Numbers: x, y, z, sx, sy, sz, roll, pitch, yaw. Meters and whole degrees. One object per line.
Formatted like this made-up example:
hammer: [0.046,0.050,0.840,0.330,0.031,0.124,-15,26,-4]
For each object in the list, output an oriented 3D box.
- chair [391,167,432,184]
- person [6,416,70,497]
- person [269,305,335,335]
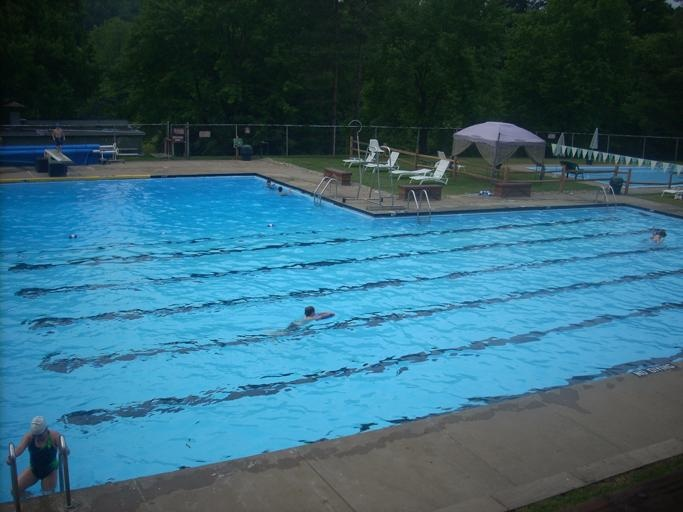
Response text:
chair: [2.816,-3.078,23.409,2.150,0.420,0.979,-7,16,-12]
person: [-3.149,2.068,5.942,0.406,0.896,0.985,-2,10,-29]
person: [-0.603,1.069,9.674,1.274,0.353,0.255,-5,12,-43]
